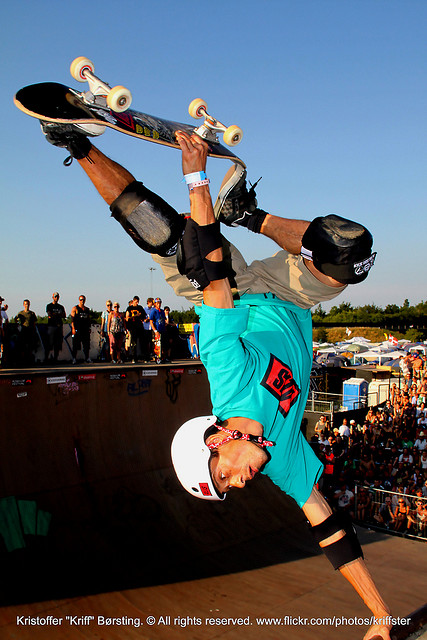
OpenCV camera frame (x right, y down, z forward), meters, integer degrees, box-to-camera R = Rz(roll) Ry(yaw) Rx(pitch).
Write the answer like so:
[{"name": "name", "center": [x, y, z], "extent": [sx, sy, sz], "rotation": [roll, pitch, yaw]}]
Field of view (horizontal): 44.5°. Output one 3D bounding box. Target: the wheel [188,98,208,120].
[{"name": "wheel", "center": [-0.090, -1.188, 2.959], "extent": [0.074, 0.092, 0.145], "rotation": [9, 4, -16]}]

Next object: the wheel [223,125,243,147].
[{"name": "wheel", "center": [0.107, -1.048, 2.972], "extent": [0.098, 0.095, 0.131], "rotation": [10, 4, -3]}]

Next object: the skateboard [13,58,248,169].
[{"name": "skateboard", "center": [-0.450, -1.180, 2.893], "extent": [1.187, 0.355, 0.498], "rotation": [8, 5, -23]}]

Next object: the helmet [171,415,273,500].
[{"name": "helmet", "center": [0.044, 0.825, 3.111], "extent": [0.585, 0.449, 0.418], "rotation": [10, -8, 13]}]

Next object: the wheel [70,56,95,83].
[{"name": "wheel", "center": [-0.706, -1.336, 2.795], "extent": [0.104, 0.095, 0.085], "rotation": [9, 4, -17]}]

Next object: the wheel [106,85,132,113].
[{"name": "wheel", "center": [-0.490, -1.133, 2.688], "extent": [0.116, 0.091, 0.306], "rotation": [9, 4, -16]}]
